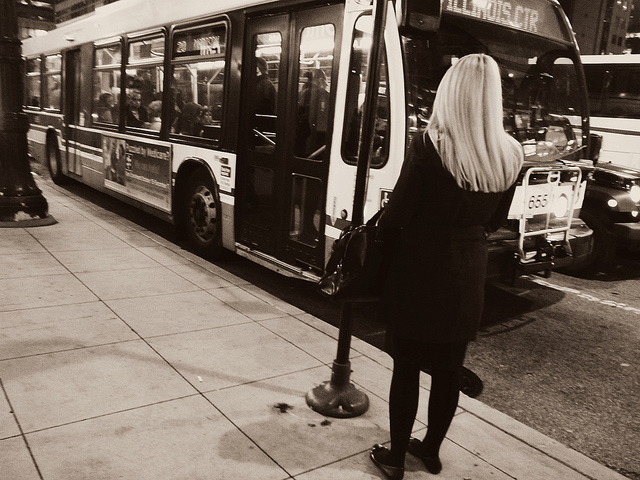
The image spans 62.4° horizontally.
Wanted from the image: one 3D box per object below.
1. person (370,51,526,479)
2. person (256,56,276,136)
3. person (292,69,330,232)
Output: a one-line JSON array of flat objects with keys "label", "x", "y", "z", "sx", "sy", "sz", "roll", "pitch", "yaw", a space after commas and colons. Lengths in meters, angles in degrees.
[{"label": "person", "x": 0.798, "y": 0.248, "z": 3.453, "sx": 0.855, "sy": 2.797, "sz": 0.391, "roll": -2, "pitch": 12, "yaw": -15}, {"label": "person", "x": -0.725, "y": -1.833, "z": 6.776, "sx": 0.147, "sy": 0.993, "sz": 0.466, "roll": -6, "pitch": 14, "yaw": -31}, {"label": "person", "x": -0.124, "y": -1.030, "z": 6.274, "sx": 0.503, "sy": 1.914, "sz": 0.172, "roll": 12, "pitch": 16, "yaw": 42}]
